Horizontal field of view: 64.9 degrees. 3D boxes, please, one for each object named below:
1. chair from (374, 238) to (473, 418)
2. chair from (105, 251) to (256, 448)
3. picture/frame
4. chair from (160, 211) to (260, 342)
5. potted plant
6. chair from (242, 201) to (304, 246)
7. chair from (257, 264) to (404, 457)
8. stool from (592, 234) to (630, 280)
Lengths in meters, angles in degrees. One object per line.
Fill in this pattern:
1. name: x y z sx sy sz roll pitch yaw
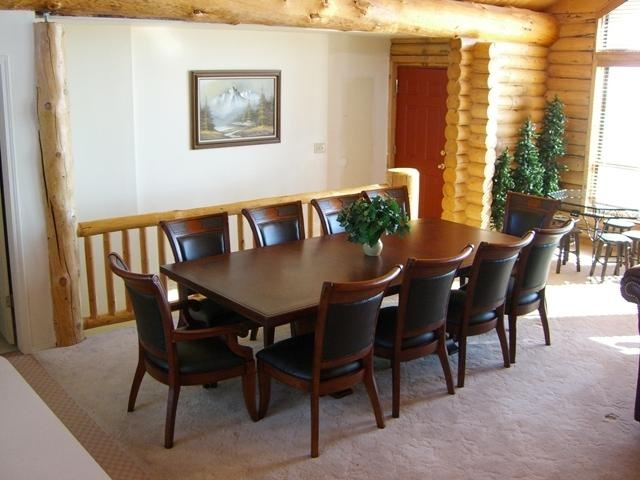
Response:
1. chair: 0.568 0.621 3.780 0.917 1.116 0.724 9 13 43
2. chair: -0.903 0.704 3.438 0.806 1.021 0.867 9 11 32
3. picture/frame: -1.219 -1.815 6.904 1.275 0.866 0.051 -7 14 -33
4. chair: -0.869 0.284 3.994 0.643 0.883 0.697 -15 19 -29
5. potted plant: 0.421 -0.108 4.122 0.597 0.435 0.510 6 12 25
6. chair: -0.397 -0.182 4.586 0.409 0.606 0.463 -11 19 -35
7. chair: 0.057 0.724 3.366 0.714 1.085 0.817 -8 12 -44
8. stool: 3.560 0.203 6.146 0.395 0.525 0.385 -19 29 -36
